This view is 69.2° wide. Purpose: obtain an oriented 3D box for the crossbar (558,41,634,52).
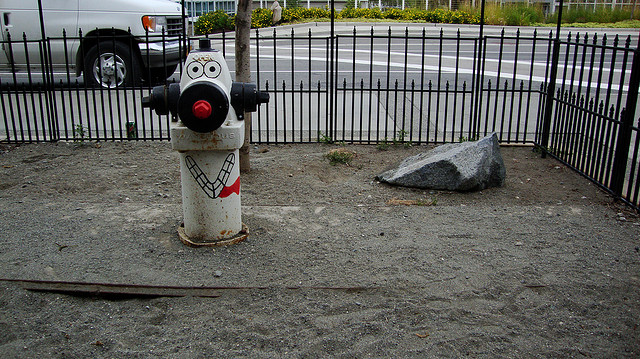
[{"bbox_3d":[5.201,-2.578,8.864,1.097,0.165,2.979,7,18,25],"label":"crossbar"}]
